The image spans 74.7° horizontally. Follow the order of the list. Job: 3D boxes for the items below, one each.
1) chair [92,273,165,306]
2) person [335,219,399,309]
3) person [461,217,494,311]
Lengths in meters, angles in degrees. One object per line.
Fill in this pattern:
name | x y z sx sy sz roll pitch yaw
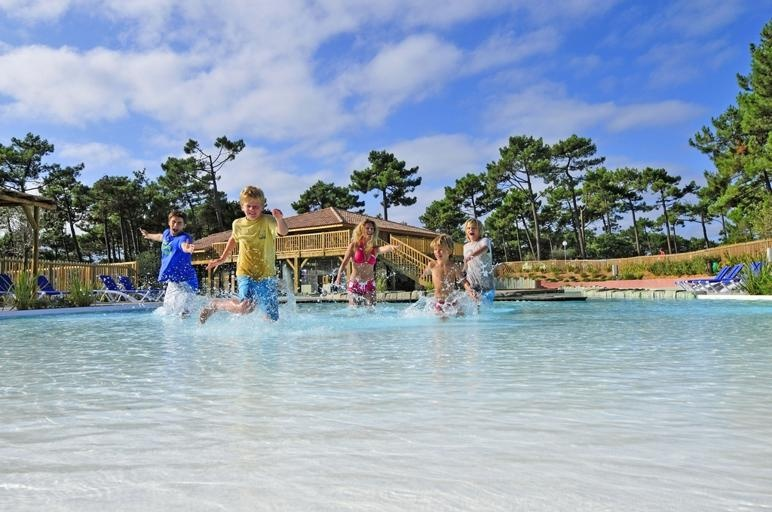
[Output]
chair | -9.184 1.251 17.907 2.340 0.923 1.282 0 -2 26
person | -0.492 0.148 10.203 0.742 1.697 0.822 -3 -6 5
person | 1.740 0.063 9.543 0.529 1.682 0.675 -3 -6 9
